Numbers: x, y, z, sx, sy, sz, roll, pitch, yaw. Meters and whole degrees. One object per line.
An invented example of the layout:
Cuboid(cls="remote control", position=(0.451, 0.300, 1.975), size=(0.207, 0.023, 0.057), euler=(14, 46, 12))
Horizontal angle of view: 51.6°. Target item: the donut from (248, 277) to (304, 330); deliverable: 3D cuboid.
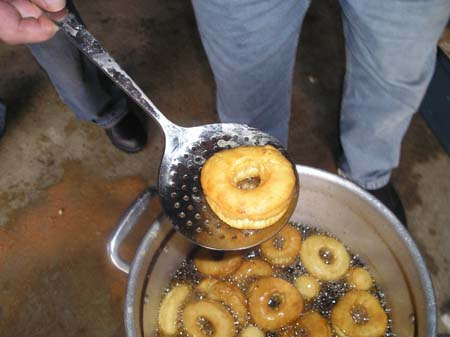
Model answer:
Cuboid(cls="donut", position=(0.297, 0.776, 2.700), size=(0.316, 0.096, 0.287), euler=(-8, 66, 9))

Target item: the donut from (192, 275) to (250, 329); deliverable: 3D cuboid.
Cuboid(cls="donut", position=(-0.024, 0.777, 2.715), size=(0.317, 0.294, 0.086), euler=(15, 83, 36))

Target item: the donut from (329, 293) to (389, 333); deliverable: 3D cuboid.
Cuboid(cls="donut", position=(0.763, 0.822, 2.679), size=(0.315, 0.027, 0.209), euler=(-7, 66, 10))

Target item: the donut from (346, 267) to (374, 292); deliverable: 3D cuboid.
Cuboid(cls="donut", position=(0.799, 0.652, 2.760), size=(0.144, 0.035, 0.143), euler=(-12, 66, 7))

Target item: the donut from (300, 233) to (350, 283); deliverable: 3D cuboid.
Cuboid(cls="donut", position=(0.608, 0.541, 2.817), size=(0.289, 0.077, 0.271), euler=(2, 68, 13))

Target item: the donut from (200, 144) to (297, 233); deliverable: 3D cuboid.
Cuboid(cls="donut", position=(0.139, 0.105, 2.587), size=(0.503, 0.209, 0.573), euler=(-14, 41, -9))
